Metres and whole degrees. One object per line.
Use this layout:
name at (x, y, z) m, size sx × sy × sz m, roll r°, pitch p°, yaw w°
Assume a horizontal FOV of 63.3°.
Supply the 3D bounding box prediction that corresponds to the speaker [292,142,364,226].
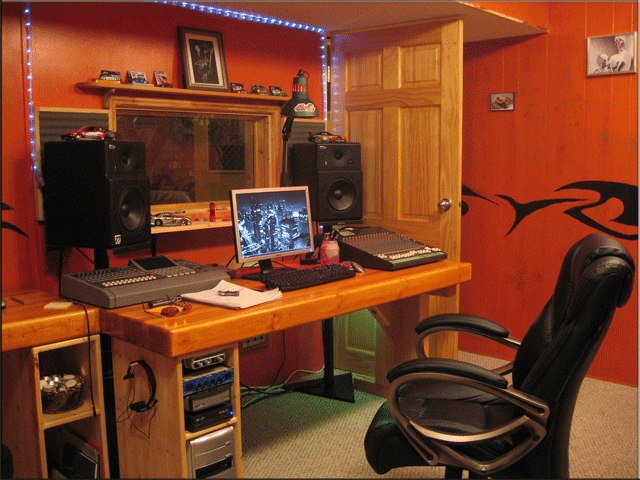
speaker at (0.072, -0.351, 3.559) m, size 0.493 × 0.714 × 0.494 m, roll -2°, pitch 2°, yaw -45°

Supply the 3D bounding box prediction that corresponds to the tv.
tv at (-0.265, -0.037, 2.869) m, size 0.504 × 0.453 × 0.145 m, roll -8°, pitch 4°, yaw -42°

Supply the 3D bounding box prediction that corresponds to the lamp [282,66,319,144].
lamp at (-0.140, -0.865, 3.371) m, size 0.223 × 0.455 × 0.401 m, roll -2°, pitch 13°, yaw -4°

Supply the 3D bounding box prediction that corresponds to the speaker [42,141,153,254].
speaker at (-1.082, -0.218, 2.473) m, size 0.495 × 0.503 × 0.284 m, roll -5°, pitch 14°, yaw -17°

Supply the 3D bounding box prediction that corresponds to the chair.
chair at (0.687, 0.448, 2.541) m, size 1.153 × 1.333 × 0.921 m, roll 3°, pitch 2°, yaw 13°

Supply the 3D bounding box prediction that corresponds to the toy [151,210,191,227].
toy at (-0.852, -0.117, 2.935) m, size 0.163 × 0.050 × 0.103 m, roll -6°, pitch 13°, yaw -25°

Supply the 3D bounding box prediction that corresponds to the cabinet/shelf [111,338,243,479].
cabinet/shelf at (-0.659, 0.785, 2.208) m, size 0.630 × 0.684 × 0.284 m, roll 2°, pitch 14°, yaw 13°

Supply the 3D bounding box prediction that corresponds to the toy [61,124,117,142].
toy at (-1.128, -0.517, 2.521) m, size 0.251 × 0.066 × 0.263 m, roll -7°, pitch 15°, yaw -25°
